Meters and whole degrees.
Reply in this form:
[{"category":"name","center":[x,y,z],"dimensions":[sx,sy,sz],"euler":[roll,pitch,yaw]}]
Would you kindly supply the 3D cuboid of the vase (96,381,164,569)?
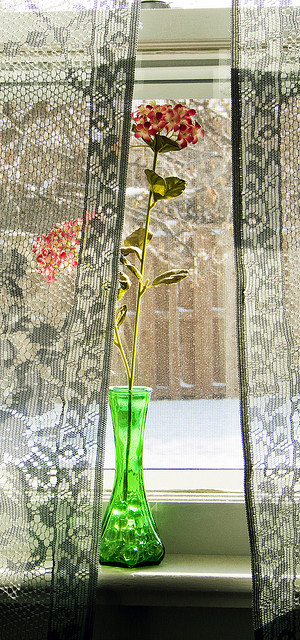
[{"category":"vase","center":[-0.024,0.248,1.008],"dimensions":[0.099,0.268,0.130],"euler":[3,-19,-1]}]
